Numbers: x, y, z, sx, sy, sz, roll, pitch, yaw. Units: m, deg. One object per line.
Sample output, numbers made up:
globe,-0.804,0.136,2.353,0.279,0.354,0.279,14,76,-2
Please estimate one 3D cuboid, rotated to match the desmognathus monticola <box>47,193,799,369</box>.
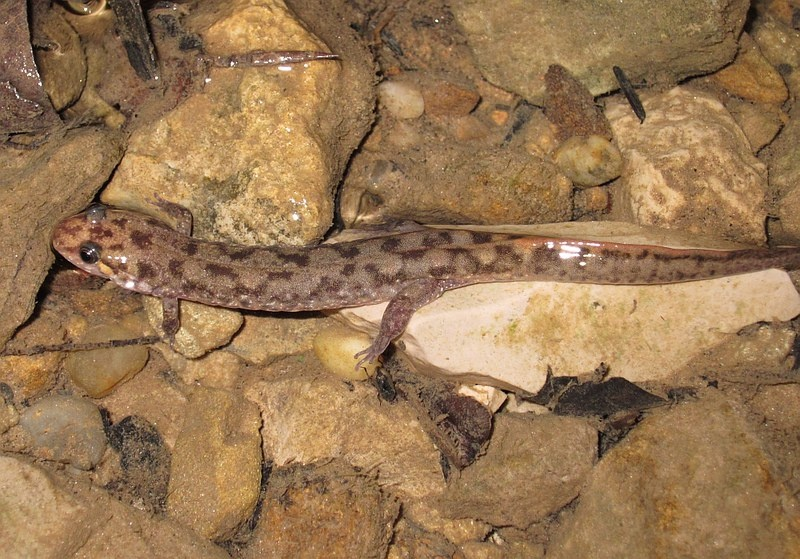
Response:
desmognathus monticola,-0.237,-0.064,12.181,8.020,0.632,1.338,3,81,0
